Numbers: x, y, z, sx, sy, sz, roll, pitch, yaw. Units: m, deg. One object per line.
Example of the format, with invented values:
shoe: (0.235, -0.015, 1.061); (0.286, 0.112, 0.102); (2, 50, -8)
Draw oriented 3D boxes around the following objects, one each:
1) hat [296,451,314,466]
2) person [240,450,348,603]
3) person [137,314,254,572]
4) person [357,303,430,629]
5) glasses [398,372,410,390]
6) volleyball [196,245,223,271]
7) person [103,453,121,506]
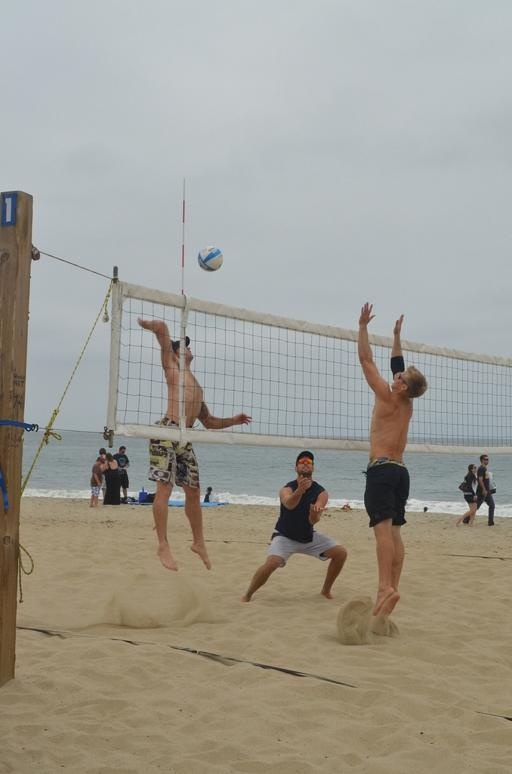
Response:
hat: (0.296, 0.424, 4.791); (0.069, 0.109, 0.038); (5, 16, -1)
person: (0.332, 0.881, 4.915); (0.581, 0.968, 0.713); (4, -2, -16)
person: (-0.463, 0.437, 5.344); (0.678, 1.694, 0.868); (3, -2, -2)
person: (0.735, 0.426, 4.508); (0.405, 1.823, 0.729); (2, -2, 11)
glasses: (0.857, -0.037, 4.634); (0.073, 0.094, 0.072); (13, 16, 43)
volleyball: (-0.329, -0.919, 5.792); (0.151, 0.200, 0.204); (3, -3, -8)
person: (-2.361, 1.564, 13.161); (0.283, 0.876, 1.096); (3, -3, -10)
